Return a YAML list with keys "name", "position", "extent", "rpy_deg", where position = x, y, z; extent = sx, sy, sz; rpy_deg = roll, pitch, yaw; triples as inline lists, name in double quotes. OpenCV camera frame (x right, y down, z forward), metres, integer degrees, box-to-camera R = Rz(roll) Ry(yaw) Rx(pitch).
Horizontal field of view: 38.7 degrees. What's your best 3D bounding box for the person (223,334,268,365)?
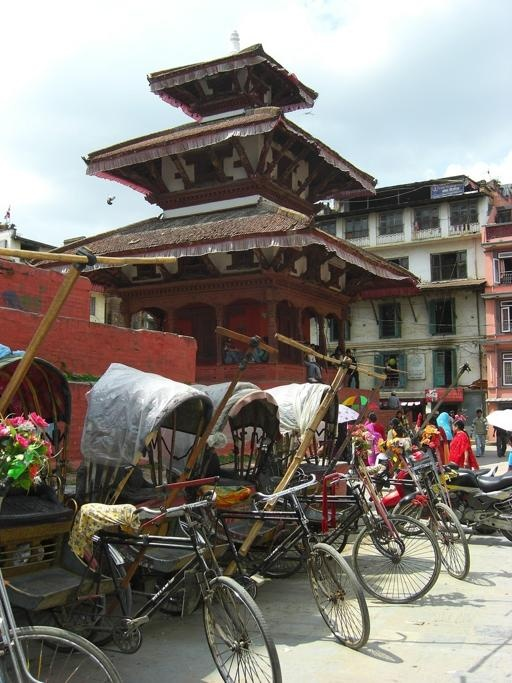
- name: "person"
  position: [-0.221, 0.166, 13.571]
  extent: [0.810, 0.303, 0.977]
  rpy_deg: [2, -2, -5]
